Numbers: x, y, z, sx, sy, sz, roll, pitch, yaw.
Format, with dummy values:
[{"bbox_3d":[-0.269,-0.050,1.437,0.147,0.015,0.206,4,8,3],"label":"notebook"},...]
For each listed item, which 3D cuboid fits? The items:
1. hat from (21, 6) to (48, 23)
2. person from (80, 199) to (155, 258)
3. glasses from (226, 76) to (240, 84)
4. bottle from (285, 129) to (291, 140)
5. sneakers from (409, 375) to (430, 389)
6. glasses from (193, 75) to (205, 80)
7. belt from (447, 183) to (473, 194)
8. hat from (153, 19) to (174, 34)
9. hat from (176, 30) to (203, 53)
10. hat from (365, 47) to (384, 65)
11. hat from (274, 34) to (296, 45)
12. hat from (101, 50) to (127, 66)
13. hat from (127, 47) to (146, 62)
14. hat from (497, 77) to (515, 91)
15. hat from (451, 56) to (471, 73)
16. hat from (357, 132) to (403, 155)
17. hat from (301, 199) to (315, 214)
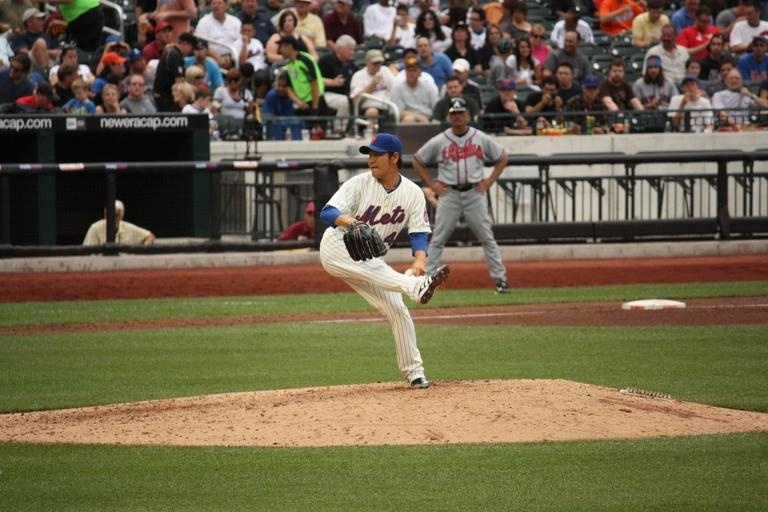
[{"bbox_3d":[-6.012,-4.257,34.150,0.345,0.178,0.251,-14,8,8],"label":"hat"},{"bbox_3d":[-4.223,-0.487,31.975,1.154,0.892,0.419,-1,3,-10],"label":"person"},{"bbox_3d":[-2.489,-3.063,33.551,0.216,0.113,0.156,-1,3,2],"label":"glasses"},{"bbox_3d":[-1.515,-2.094,33.351,0.111,0.155,0.028,-3,4,-33],"label":"bottle"},{"bbox_3d":[0.530,1.723,26.561,0.314,0.132,0.119,6,10,39],"label":"sneakers"},{"bbox_3d":[-3.051,-3.080,33.375,0.072,0.054,0.199,1,4,30],"label":"glasses"},{"bbox_3d":[1.270,-1.083,30.267,0.410,0.130,0.065,0,3,12],"label":"belt"},{"bbox_3d":[-3.732,-4.070,34.202,0.296,0.201,0.302,-2,3,-16],"label":"hat"},{"bbox_3d":[-3.279,-3.717,33.831,0.362,0.394,0.262,-1,3,-6],"label":"hat"},{"bbox_3d":[-0.076,-3.484,33.806,0.233,0.176,0.340,-1,5,-11],"label":"hat"},{"bbox_3d":[-1.625,-3.767,33.528,0.343,0.156,0.305,-2,4,17],"label":"hat"},{"bbox_3d":[-4.517,-3.410,33.255,0.344,0.139,0.222,0,17,1],"label":"hat"},{"bbox_3d":[-4.122,-3.450,33.249,0.233,0.208,0.334,-1,3,-3],"label":"hat"},{"bbox_3d":[2.220,-3.068,34.423,0.333,0.180,0.471,2,3,7],"label":"hat"},{"bbox_3d":[1.436,-3.411,34.495,0.277,0.231,0.373,-1,3,-4],"label":"hat"},{"bbox_3d":[0.039,-1.531,26.427,0.460,0.220,0.297,0,2,-16],"label":"hat"},{"bbox_3d":[-1.140,-0.826,32.129,0.132,0.188,0.218,-4,4,-42],"label":"hat"}]
